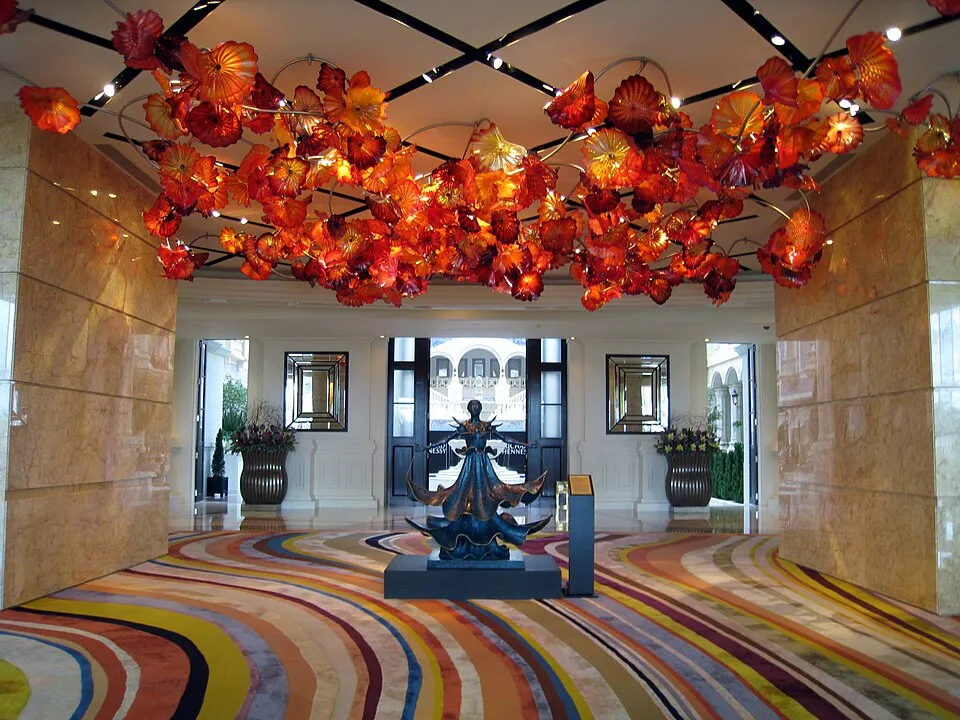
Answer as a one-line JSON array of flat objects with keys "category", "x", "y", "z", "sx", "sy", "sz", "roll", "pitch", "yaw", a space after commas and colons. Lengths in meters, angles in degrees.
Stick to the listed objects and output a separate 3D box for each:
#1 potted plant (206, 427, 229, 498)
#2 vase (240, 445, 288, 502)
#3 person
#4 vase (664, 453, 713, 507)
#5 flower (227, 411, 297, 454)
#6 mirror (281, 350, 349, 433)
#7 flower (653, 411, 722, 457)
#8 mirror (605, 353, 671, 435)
[{"category": "potted plant", "x": -6.597, "y": 2.541, "z": 15.234, "sx": 0.506, "sy": 1.701, "sz": 1.393, "roll": 3, "pitch": -9, "yaw": -22}, {"category": "vase", "x": -4.139, "y": 2.318, "z": 12.055, "sx": 1.065, "sy": 1.070, "sz": 1.005, "roll": 0, "pitch": -13, "yaw": -6}, {"category": "person", "x": -0.027, "y": 0.909, "z": 5.690, "sx": 1.254, "sy": 0.945, "sz": 1.072, "roll": -1, "pitch": -4, "yaw": -1}, {"category": "vase", "x": 4.338, "y": 2.457, "z": 12.515, "sx": 1.146, "sy": 1.221, "sz": 1.101, "roll": 1, "pitch": -7, "yaw": 1}, {"category": "flower", "x": -4.214, "y": 1.439, "z": 11.893, "sx": 0.949, "sy": 0.404, "sz": 0.902, "roll": 1, "pitch": -1, "yaw": -28}, {"category": "mirror", "x": -3.486, "y": 0.709, "z": 12.585, "sx": 1.870, "sy": 2.017, "sz": 0.152, "roll": -1, "pitch": 0, "yaw": 2}, {"category": "flower", "x": 4.210, "y": 1.553, "z": 12.328, "sx": 1.102, "sy": 0.598, "sz": 0.927, "roll": 0, "pitch": -2, "yaw": -14}, {"category": "mirror", "x": 3.291, "y": 0.761, "z": 12.792, "sx": 1.861, "sy": 2.045, "sz": 0.077, "roll": 0, "pitch": -1, "yaw": 0}]
